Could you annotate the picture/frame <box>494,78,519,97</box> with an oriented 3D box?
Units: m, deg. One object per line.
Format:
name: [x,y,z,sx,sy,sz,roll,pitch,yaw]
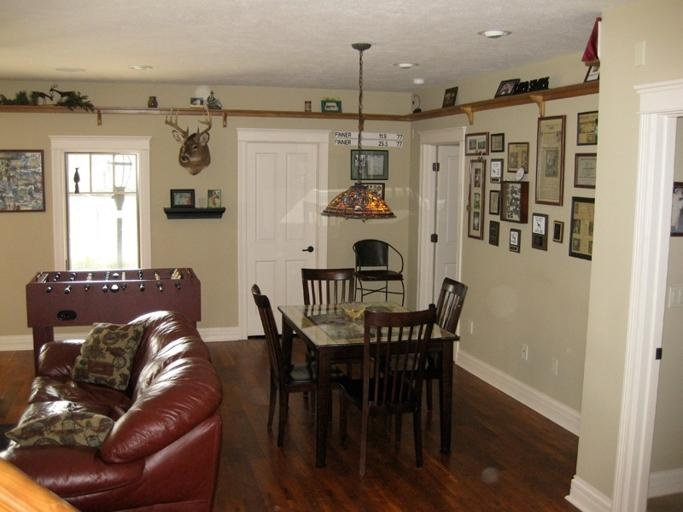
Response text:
picture/frame: [1.709,-1.742,5.587,0.177,0.200,0.366,-1,9,-13]

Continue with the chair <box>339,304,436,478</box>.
chair: [0.350,0.958,4.358,0.776,1.281,0.934,2,9,4]

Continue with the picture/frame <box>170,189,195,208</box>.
picture/frame: [-2.089,-0.754,6.965,0.231,0.203,0.018,-1,3,-17]
